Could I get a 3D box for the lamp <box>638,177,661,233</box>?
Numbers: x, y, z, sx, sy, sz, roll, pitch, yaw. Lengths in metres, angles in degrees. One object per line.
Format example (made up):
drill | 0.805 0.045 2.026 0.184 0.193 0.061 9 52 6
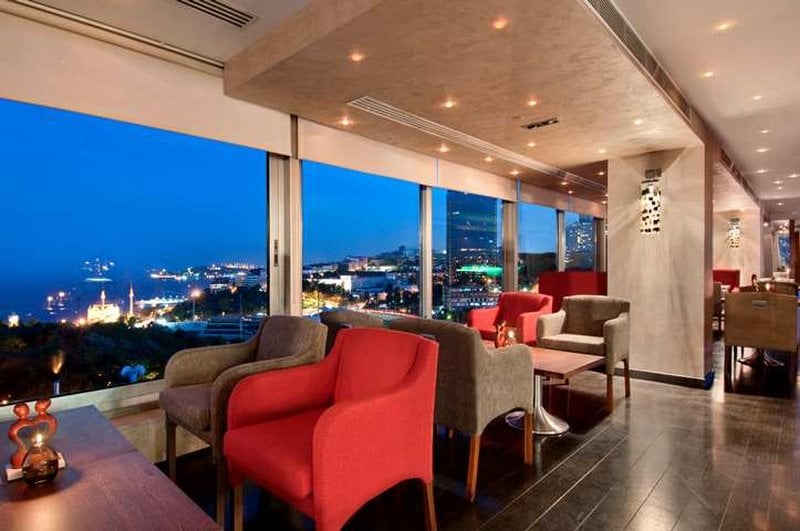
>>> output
lamp | 3.509 -0.831 7.215 0.282 0.747 0.094 -2 -2 27
